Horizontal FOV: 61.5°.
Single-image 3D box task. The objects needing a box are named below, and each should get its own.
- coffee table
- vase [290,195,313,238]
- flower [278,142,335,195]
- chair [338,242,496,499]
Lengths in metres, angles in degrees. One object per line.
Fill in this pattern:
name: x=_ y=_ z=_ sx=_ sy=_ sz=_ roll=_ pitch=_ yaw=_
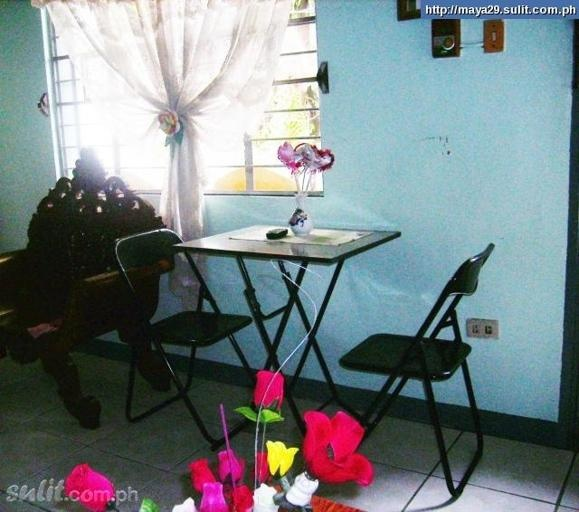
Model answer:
coffee table: x=0.050 y=0.347 z=2.495 sx=0.967 sy=1.160 sz=0.957 roll=1 pitch=9 yaw=23
vase: x=0.055 y=-0.202 z=2.288 sx=0.108 sy=0.198 sz=0.116 roll=-11 pitch=25 yaw=-29
flower: x=0.061 y=-0.393 z=2.200 sx=0.253 sy=0.263 sz=0.184 roll=10 pitch=-8 yaw=-4
chair: x=0.556 y=0.388 z=2.070 sx=0.551 sy=0.924 sz=0.621 roll=5 pitch=15 yaw=25
